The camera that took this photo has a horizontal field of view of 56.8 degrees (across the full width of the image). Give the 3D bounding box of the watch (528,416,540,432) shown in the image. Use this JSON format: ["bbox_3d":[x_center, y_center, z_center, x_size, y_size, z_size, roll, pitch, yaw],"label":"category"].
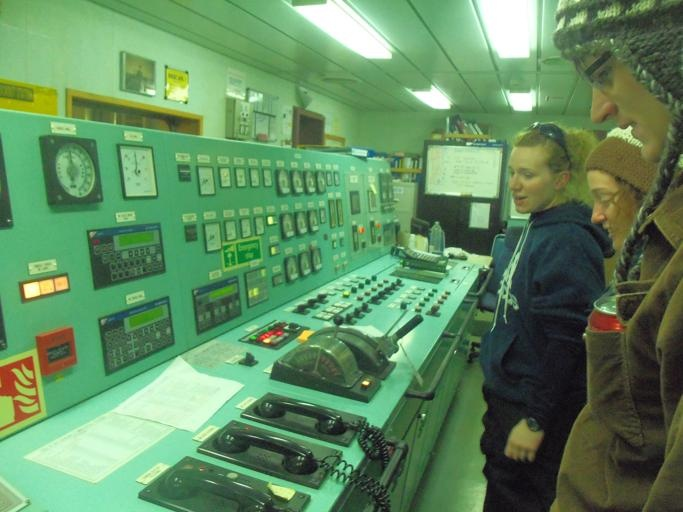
[{"bbox_3d":[0.742,0.651,2.452,0.012,0.036,0.050,43,8,-46],"label":"watch"}]

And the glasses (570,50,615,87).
[{"bbox_3d":[0.623,-0.453,1.569,0.065,0.074,0.082,-18,28,39],"label":"glasses"}]

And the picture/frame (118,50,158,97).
[{"bbox_3d":[-1.626,-1.445,4.985,0.060,0.305,0.452,6,8,23],"label":"picture/frame"}]

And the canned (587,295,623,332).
[{"bbox_3d":[0.715,0.147,1.683,0.093,0.084,0.088,-9,10,-38],"label":"canned"}]
